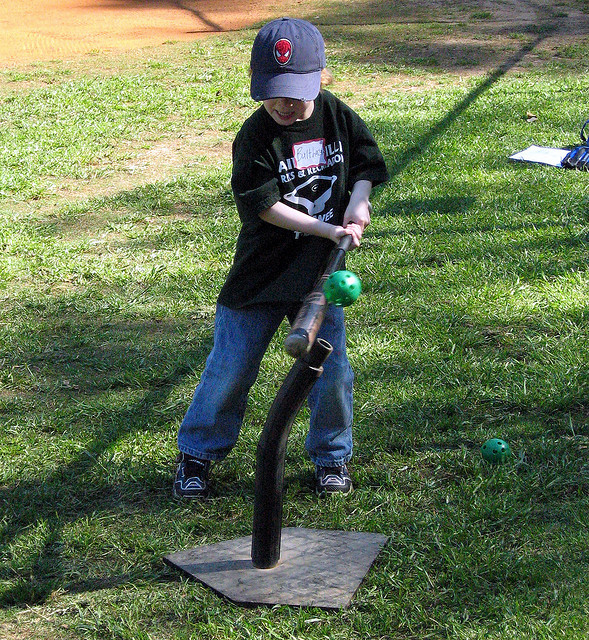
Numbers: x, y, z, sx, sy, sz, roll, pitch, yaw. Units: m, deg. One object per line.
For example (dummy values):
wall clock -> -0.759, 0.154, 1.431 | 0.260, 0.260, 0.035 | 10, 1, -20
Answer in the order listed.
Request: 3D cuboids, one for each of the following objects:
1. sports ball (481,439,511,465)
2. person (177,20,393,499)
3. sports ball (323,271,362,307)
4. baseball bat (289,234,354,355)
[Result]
sports ball -> 0.840, 0.560, 3.427 | 0.118, 0.092, 0.092 | 6, 16, 16
person -> -0.064, -0.151, 3.070 | 0.766, 1.837, 1.246 | 4, 17, 5
sports ball -> 0.133, -0.090, 2.343 | 0.101, 0.102, 0.137 | 2, 15, 1
baseball bat -> 0.098, -0.092, 2.412 | 0.088, 0.064, 0.543 | -19, 22, 37
